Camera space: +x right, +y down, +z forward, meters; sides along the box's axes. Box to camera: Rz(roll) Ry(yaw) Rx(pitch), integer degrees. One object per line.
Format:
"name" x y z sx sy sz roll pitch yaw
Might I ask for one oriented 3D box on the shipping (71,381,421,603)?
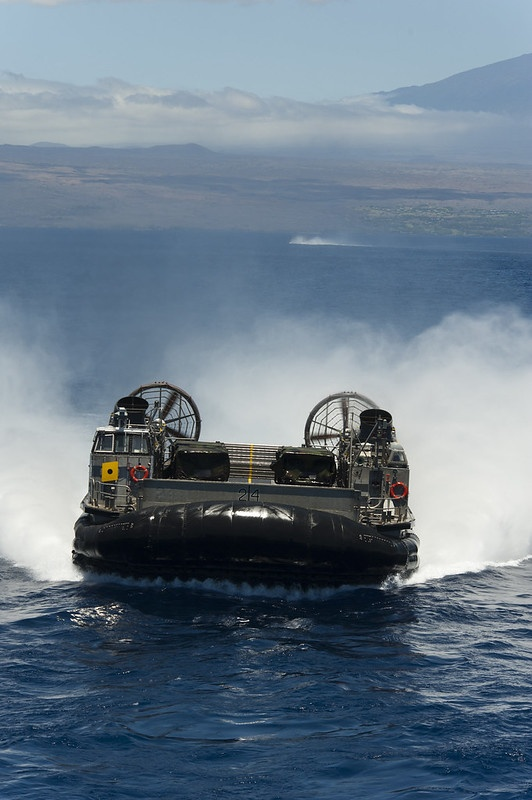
"shipping" -0.059 1.458 20.666 6.103 2.822 7.497 2 0 -1
